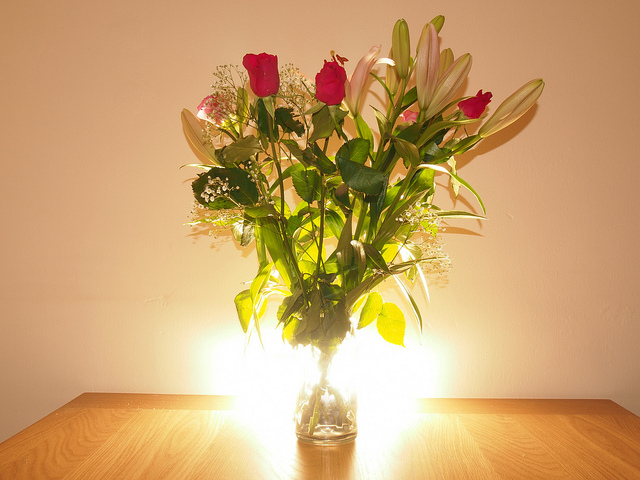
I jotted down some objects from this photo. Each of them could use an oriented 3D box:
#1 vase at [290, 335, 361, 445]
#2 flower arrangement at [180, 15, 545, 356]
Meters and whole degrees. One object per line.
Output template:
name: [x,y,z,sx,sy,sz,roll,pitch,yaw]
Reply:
vase: [0.023,0.298,1.152,0.159,0.160,0.297,-2,-71,2]
flower arrangement: [0.020,-0.115,1.226,0.573,0.721,0.867,9,-82,-6]
